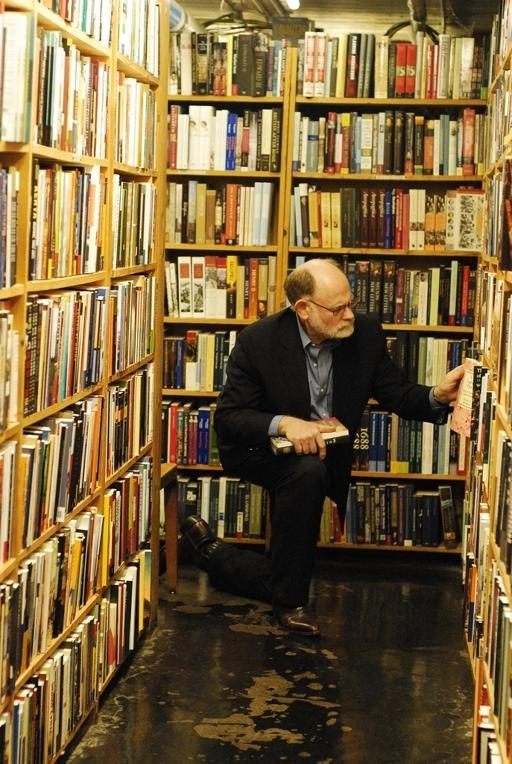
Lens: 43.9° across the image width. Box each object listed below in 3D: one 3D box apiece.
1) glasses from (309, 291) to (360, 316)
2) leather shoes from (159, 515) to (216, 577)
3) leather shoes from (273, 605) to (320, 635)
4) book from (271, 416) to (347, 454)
[{"bbox_3d":[0.287,-0.267,2.322,0.161,0.049,0.163,1,11,15],"label":"glasses"},{"bbox_3d":[-0.338,0.838,2.996,0.254,0.100,0.211,4,0,-18],"label":"leather shoes"},{"bbox_3d":[0.144,0.884,2.396,0.078,0.092,0.208,4,-9,-33],"label":"leather shoes"},{"bbox_3d":[0.196,0.206,2.332,0.280,0.089,0.144,2,0,-5],"label":"book"}]
